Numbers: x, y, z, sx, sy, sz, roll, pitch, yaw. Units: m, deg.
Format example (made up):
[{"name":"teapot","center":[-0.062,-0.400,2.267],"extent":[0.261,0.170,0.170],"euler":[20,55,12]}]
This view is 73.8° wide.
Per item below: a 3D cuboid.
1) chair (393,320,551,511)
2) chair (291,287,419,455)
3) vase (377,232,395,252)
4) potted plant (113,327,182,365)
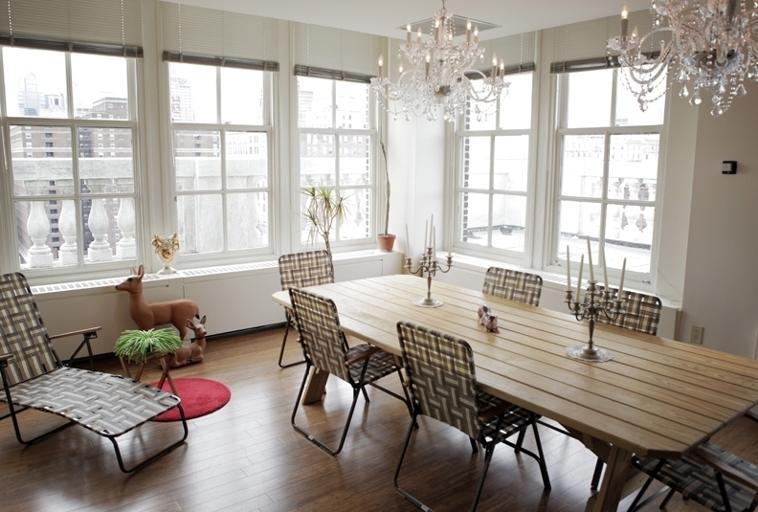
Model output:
[{"name":"chair","center":[0.609,1.017,3.215],"extent":[0.877,1.242,0.803],"euler":[-16,21,-38]},{"name":"chair","center":[-0.176,0.878,3.795],"extent":[0.871,1.227,0.794],"euler":[-13,21,-35]},{"name":"vase","center":[0.085,-0.178,6.268],"extent":[0.220,0.171,0.216],"euler":[-6,11,-35]},{"name":"potted plant","center":[-1.922,0.722,4.154],"extent":[0.377,0.159,0.375],"euler":[3,4,19]}]
